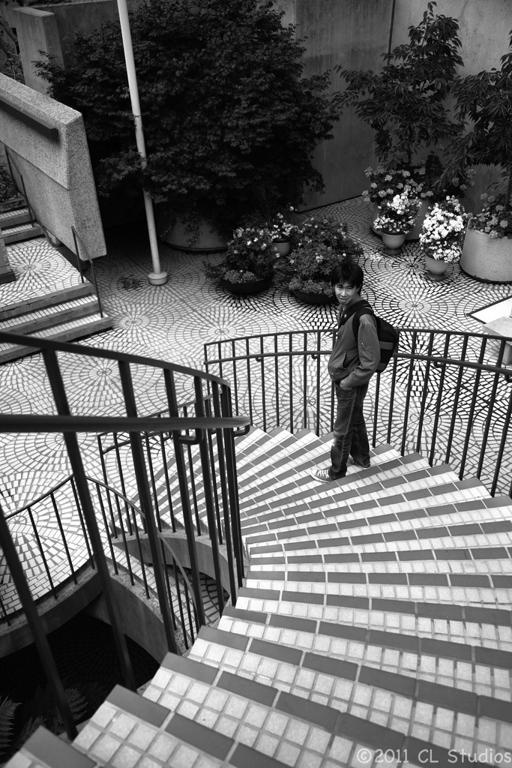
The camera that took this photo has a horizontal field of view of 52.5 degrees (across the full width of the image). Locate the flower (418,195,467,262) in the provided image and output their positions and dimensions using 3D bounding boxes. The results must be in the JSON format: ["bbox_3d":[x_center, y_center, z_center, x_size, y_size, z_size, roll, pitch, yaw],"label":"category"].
[{"bbox_3d":[3.225,-2.647,8.901,0.686,0.922,0.854,17,35,34],"label":"flower"}]

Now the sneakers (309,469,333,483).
[{"bbox_3d":[0.523,0.730,4.113,0.186,0.068,0.075,10,-20,-17],"label":"sneakers"}]

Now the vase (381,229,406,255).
[{"bbox_3d":[2.633,-2.735,9.945,0.420,0.355,0.424,24,56,17],"label":"vase"}]

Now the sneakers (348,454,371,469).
[{"bbox_3d":[0.813,0.616,4.188,0.074,0.096,0.216,-19,26,-31],"label":"sneakers"}]

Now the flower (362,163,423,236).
[{"bbox_3d":[2.877,-3.455,10.016,0.784,1.105,1.071,-6,65,16],"label":"flower"}]

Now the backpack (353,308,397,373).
[{"bbox_3d":[0.884,-0.272,3.648,0.277,0.407,0.372,9,4,-42],"label":"backpack"}]

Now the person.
[{"bbox_3d":[0.652,-0.004,3.733,0.447,1.770,0.389,0,28,9],"label":"person"}]
